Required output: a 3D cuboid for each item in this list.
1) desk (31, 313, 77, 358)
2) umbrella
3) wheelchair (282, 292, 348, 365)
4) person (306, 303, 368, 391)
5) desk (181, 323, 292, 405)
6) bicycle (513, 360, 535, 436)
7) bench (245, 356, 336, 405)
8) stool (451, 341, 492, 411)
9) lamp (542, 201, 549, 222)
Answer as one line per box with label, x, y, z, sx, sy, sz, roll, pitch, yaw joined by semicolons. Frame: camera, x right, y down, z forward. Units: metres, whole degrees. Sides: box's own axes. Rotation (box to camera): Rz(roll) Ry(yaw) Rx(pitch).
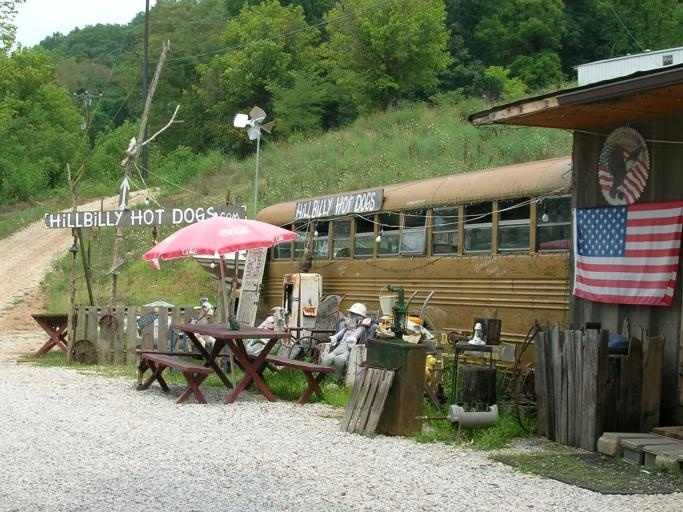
desk;-5.771;1.545;18.227;0.807;0.865;0.877;1;-8;9
umbrella;-2.253;0.683;15.334;1.848;2.541;1.584;1;3;-37
wheelchair;-0.412;1.453;17.204;0.871;1.378;0.878;9;4;32
person;0.093;1.530;15.560;0.773;1.471;0.697;11;-9;-30
desk;-1.726;1.565;14.466;1.201;1.378;1.382;0;4;-27
bicycle;2.638;2.083;13.114;0.288;1.044;0.964;-1;0;23
bench;-0.725;1.886;14.527;1.038;0.724;1.191;0;6;-44
stool;1.872;1.709;12.641;0.497;1.009;0.528;-3;1;-19
lamp;3.162;-0.679;14.074;0.072;0.082;0.334;3;44;6
